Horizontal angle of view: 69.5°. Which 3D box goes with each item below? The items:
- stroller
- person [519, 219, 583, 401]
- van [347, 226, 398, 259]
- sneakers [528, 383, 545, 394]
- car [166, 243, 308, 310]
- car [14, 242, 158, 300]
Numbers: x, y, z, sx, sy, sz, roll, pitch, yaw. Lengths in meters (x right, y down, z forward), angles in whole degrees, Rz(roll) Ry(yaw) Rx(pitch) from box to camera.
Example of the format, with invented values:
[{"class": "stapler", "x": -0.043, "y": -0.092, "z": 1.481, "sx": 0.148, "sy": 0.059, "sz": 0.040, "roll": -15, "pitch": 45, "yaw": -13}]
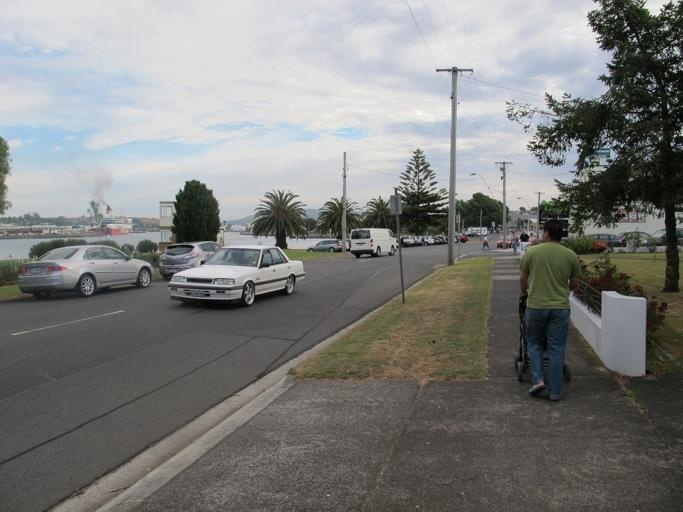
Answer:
[{"class": "stroller", "x": 2.760, "y": 1.106, "z": 6.817, "sx": 0.694, "sy": 1.096, "sz": 0.731, "roll": -1, "pitch": 5, "yaw": 10}, {"class": "person", "x": 2.648, "y": 0.647, "z": 6.256, "sx": 0.647, "sy": 2.219, "sz": 0.741, "roll": -3, "pitch": 6, "yaw": -2}, {"class": "van", "x": 2.591, "y": -1.151, "z": 39.827, "sx": 1.947, "sy": 1.891, "sz": 4.165, "roll": 2, "pitch": 7, "yaw": 36}, {"class": "sneakers", "x": 2.448, "y": 1.686, "z": 6.226, "sx": 0.097, "sy": 0.120, "sz": 0.272, "roll": -5, "pitch": -11, "yaw": -2}, {"class": "car", "x": -3.103, "y": 0.601, "z": 14.778, "sx": 1.801, "sy": 1.736, "sz": 3.665, "roll": 1, "pitch": 7, "yaw": 27}, {"class": "car", "x": -8.376, "y": 0.473, "z": 16.450, "sx": 1.636, "sy": 1.283, "sz": 3.848, "roll": -1, "pitch": 4, "yaw": 21}]
